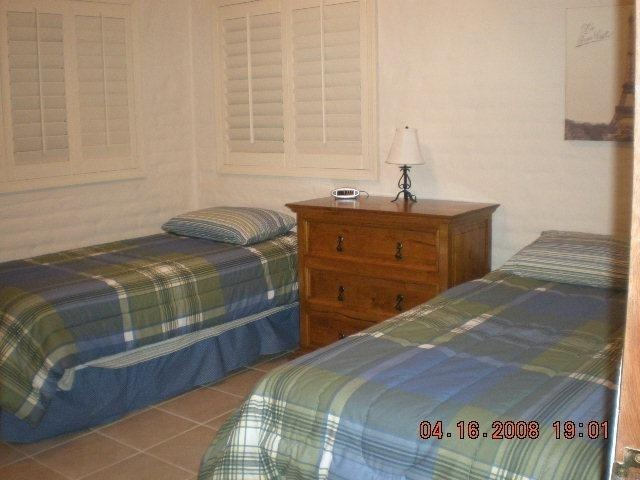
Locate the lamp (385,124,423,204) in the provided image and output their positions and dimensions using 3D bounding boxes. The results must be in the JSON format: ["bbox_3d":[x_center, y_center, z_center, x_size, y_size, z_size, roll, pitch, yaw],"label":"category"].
[{"bbox_3d":[0.577,-0.523,3.255,0.233,0.504,0.384,0,14,10],"label":"lamp"}]

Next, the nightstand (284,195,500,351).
[{"bbox_3d":[0.438,0.160,2.750,1.351,0.907,0.712,5,11,32],"label":"nightstand"}]

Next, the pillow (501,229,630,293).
[{"bbox_3d":[1.324,0.059,2.418,0.529,0.102,0.464,5,21,33],"label":"pillow"}]

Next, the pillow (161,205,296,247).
[{"bbox_3d":[-0.719,-0.139,3.716,0.915,0.186,0.549,11,27,40],"label":"pillow"}]
